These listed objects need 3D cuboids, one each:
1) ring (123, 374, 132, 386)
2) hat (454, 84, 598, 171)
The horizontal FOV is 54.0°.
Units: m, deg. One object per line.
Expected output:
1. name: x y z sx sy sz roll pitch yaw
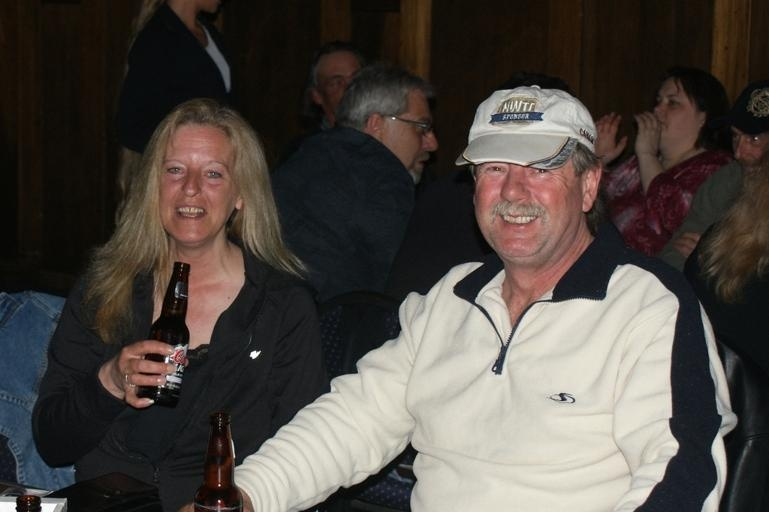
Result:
1. ring: -0.932 0.449 2.746 0.033 0.045 0.018 -3 -5 35
2. hat: 0.551 -0.505 2.919 0.484 0.291 0.686 8 13 34
